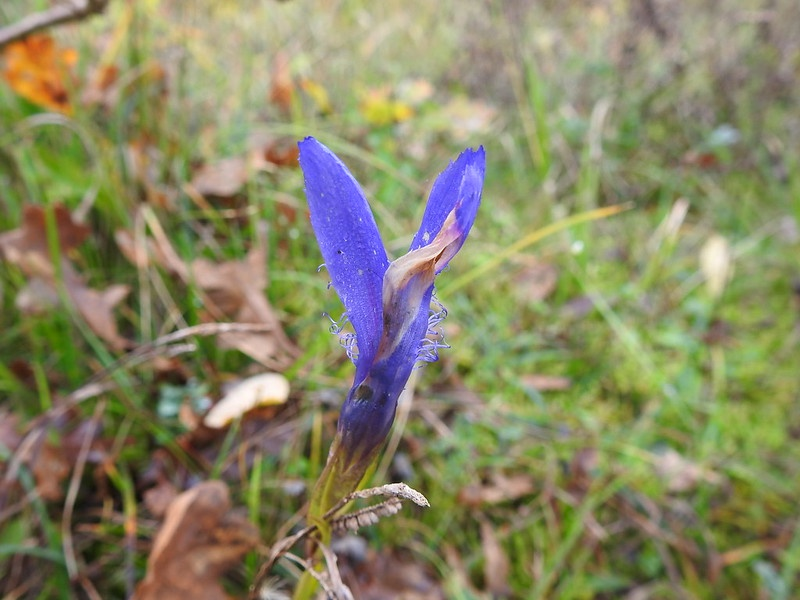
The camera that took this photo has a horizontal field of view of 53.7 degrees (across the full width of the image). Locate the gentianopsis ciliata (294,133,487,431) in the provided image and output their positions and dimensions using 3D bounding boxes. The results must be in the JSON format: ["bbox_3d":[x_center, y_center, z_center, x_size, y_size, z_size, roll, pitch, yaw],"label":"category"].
[{"bbox_3d":[-0.112,-0.106,1.896,0.531,0.829,0.409,-7,22,-28],"label":"gentianopsis ciliata"}]
